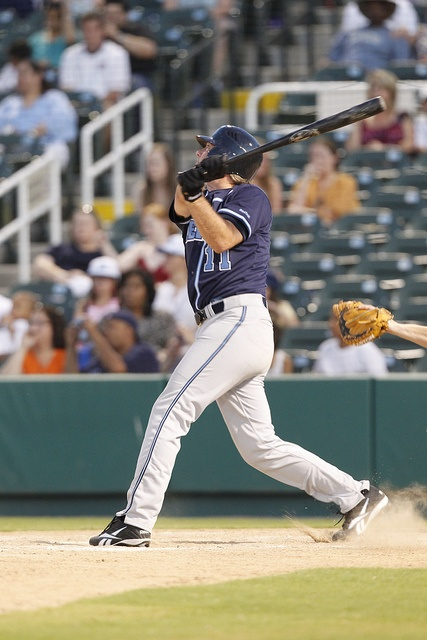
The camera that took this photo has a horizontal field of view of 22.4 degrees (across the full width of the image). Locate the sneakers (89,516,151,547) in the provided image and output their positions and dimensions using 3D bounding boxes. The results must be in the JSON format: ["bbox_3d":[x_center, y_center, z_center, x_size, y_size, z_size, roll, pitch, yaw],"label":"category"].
[{"bbox_3d":[-0.342,0.806,4.095,0.278,0.114,0.088,1,-7,13],"label":"sneakers"}]

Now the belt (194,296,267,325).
[{"bbox_3d":[0.062,-0.040,4.112,0.272,0.137,0.149,-1,14,-1],"label":"belt"}]

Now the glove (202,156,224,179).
[{"bbox_3d":[-0.004,-0.548,3.902,0.098,0.088,0.079,-5,15,-15],"label":"glove"}]

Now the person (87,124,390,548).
[{"bbox_3d":[0.048,0.138,4.104,1.128,1.517,0.402,-3,16,-10],"label":"person"}]

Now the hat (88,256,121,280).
[{"bbox_3d":[-0.696,-0.324,6.770,0.150,0.099,0.202,4,2,-7],"label":"hat"}]

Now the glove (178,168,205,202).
[{"bbox_3d":[-0.081,-0.491,3.877,0.094,0.114,0.164,1,14,6],"label":"glove"}]

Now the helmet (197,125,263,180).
[{"bbox_3d":[0.098,-0.662,4.275,0.283,0.199,0.188,16,-2,10],"label":"helmet"}]

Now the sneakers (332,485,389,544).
[{"bbox_3d":[0.579,0.752,4.248,0.139,0.284,0.098,29,30,-7],"label":"sneakers"}]
